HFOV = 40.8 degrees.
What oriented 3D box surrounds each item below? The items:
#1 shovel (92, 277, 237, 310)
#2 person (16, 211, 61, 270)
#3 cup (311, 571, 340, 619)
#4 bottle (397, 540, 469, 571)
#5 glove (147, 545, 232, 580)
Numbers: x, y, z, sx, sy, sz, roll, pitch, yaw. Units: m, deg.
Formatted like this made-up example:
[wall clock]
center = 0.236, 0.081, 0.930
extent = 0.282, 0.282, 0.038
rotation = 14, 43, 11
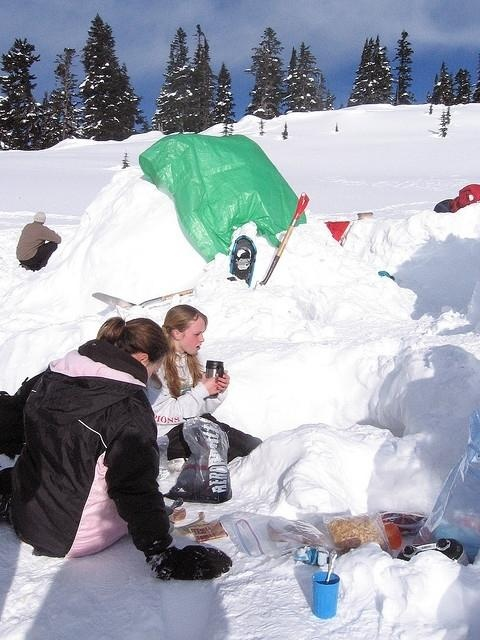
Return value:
[shovel]
center = -0.739, -0.267, 6.457
extent = 1.378, 0.165, 0.256
rotation = -9, -11, 18
[person]
center = -2.536, -0.988, 8.179
extent = 0.534, 0.763, 0.294
rotation = -3, 18, -14
[cup]
center = 0.270, 0.890, 2.108
extent = 0.125, 0.127, 0.139
rotation = 0, -1, 4
[bottle]
center = 0.675, 0.823, 2.265
extent = 0.246, 0.082, 0.149
rotation = -11, -5, 21
[glove]
center = -0.179, 0.875, 2.366
extent = 0.259, 0.085, 0.141
rotation = 3, 23, -17
